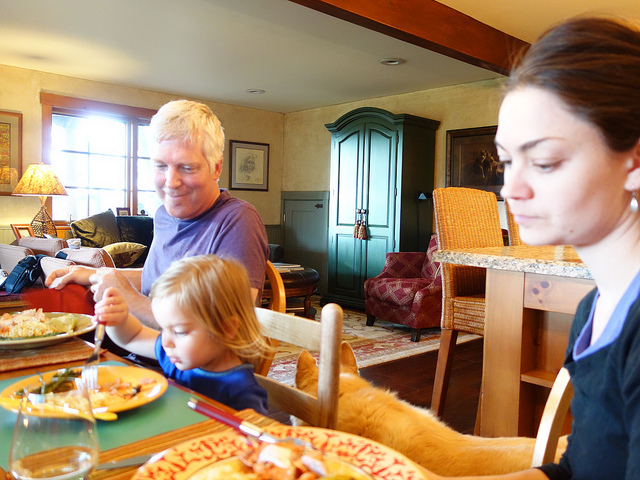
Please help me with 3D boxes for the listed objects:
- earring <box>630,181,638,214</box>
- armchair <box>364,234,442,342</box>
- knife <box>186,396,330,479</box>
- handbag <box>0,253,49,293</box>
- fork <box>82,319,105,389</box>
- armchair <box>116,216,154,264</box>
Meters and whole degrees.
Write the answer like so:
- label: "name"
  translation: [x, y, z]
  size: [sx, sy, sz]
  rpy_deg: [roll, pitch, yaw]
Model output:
- label: "earring"
  translation: [0.433, -0.058, 0.613]
  size: [0.009, 0.044, 0.005]
  rpy_deg: [2, 6, 11]
- label: "armchair"
  translation: [1.081, 0.496, 5.179]
  size: [0.881, 1.054, 0.943]
  rpy_deg: [-4, 7, -34]
- label: "knife"
  translation: [-0.093, 0.266, 0.641]
  size: [0.296, 0.071, 0.021]
  rpy_deg: [10, -29, 46]
- label: "handbag"
  translation: [-1.195, 0.143, 1.841]
  size: [0.118, 0.162, 0.064]
  rpy_deg: [14, -23, 47]
- label: "fork"
  translation: [-0.412, 0.210, 0.822]
  size: [0.010, 0.143, 0.033]
  rpy_deg: [-3, -15, 28]
- label: "armchair"
  translation: [-2.433, -0.120, 5.878]
  size: [0.437, 0.366, 0.305]
  rpy_deg: [-2, 7, -23]
